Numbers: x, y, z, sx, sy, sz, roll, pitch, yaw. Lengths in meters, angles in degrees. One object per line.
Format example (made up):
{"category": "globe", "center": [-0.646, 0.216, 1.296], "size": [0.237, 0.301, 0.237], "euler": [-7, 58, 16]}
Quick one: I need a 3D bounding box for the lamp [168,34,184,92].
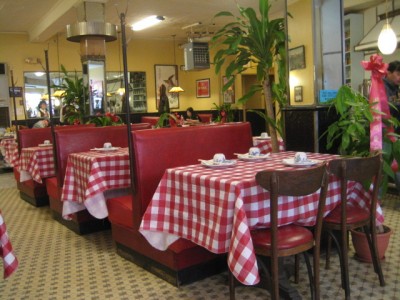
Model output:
{"category": "lamp", "center": [-0.902, -3.125, 11.846], "size": [0.650, 2.013, 0.668], "euler": [-4, 14, -11]}

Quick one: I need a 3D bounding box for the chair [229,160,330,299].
{"category": "chair", "center": [0.565, 0.649, 2.282], "size": [0.686, 1.109, 0.344], "euler": [-6, 9, -20]}

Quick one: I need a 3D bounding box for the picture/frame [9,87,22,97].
{"category": "picture/frame", "center": [-5.524, -1.726, 9.774], "size": [0.375, 0.305, 0.239], "euler": [-7, 9, -27]}

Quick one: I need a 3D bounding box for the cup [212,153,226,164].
{"category": "cup", "center": [0.153, 0.073, 2.718], "size": [0.083, 0.083, 0.088], "euler": [0, 3, 0]}

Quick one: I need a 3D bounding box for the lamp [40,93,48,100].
{"category": "lamp", "center": [-4.844, -1.665, 10.264], "size": [0.265, 0.216, 0.273], "euler": [0, 9, 16]}

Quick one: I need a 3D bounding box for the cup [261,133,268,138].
{"category": "cup", "center": [0.941, -0.210, 4.773], "size": [0.080, 0.080, 0.083], "euler": [-2, 3, 0]}

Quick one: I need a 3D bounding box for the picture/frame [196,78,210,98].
{"category": "picture/frame", "center": [0.127, -2.316, 12.367], "size": [0.083, 0.718, 0.749], "euler": [-10, 11, -43]}

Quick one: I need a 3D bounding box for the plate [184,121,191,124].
{"category": "plate", "center": [-0.284, -0.643, 7.701], "size": [0.156, 0.039, 0.154], "euler": [-1, 4, -38]}

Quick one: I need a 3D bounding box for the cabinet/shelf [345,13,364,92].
{"category": "cabinet/shelf", "center": [3.509, -2.234, 7.389], "size": [0.428, 1.708, 0.573], "euler": [1, 9, 24]}

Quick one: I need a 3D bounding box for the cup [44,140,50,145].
{"category": "cup", "center": [-2.541, -0.119, 5.406], "size": [0.066, 0.067, 0.046], "euler": [5, -11, -42]}

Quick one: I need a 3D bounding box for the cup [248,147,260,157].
{"category": "cup", "center": [0.502, 0.021, 2.998], "size": [0.080, 0.082, 0.085], "euler": [0, 2, 0]}

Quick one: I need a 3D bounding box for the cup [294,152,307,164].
{"category": "cup", "center": [0.816, 0.064, 2.642], "size": [0.086, 0.086, 0.089], "euler": [-1, 0, 0]}
